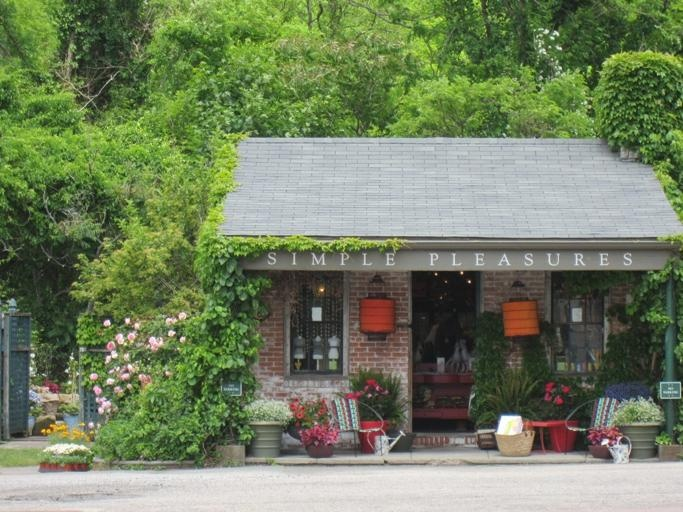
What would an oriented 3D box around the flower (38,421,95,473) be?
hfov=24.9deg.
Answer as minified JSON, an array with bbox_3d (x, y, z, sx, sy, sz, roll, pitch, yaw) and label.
[{"bbox_3d":[-6.848,4.833,39.362,1.135,1.218,1.063,0,-3,44],"label":"flower"}]

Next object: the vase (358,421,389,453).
[{"bbox_3d":[0.865,4.551,39.016,0.720,0.595,0.755,-4,-7,28],"label":"vase"}]

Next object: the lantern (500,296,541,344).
[{"bbox_3d":[4.676,1.631,39.860,0.820,0.950,0.879,-5,-10,11],"label":"lantern"}]

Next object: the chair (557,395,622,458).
[{"bbox_3d":[6.448,4.105,38.914,0.896,1.136,1.022,1,-1,9],"label":"chair"}]

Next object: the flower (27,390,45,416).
[{"bbox_3d":[-8.949,4.229,45.583,0.359,0.806,1.765,-4,9,-9],"label":"flower"}]

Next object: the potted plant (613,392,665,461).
[{"bbox_3d":[7.518,4.287,38.337,1.245,1.377,1.311,0,-11,2],"label":"potted plant"}]

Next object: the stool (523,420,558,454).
[{"bbox_3d":[5.019,4.541,38.886,0.742,0.677,0.836,-4,4,-38],"label":"stool"}]

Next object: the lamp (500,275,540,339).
[{"bbox_3d":[4.662,1.251,39.835,0.815,1.384,0.878,-2,5,12],"label":"lamp"}]

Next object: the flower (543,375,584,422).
[{"bbox_3d":[5.696,3.648,39.506,0.885,1.051,0.799,1,-4,12],"label":"flower"}]

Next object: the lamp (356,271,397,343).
[{"bbox_3d":[0.987,1.314,39.715,0.996,1.552,0.980,6,-10,-37],"label":"lamp"}]

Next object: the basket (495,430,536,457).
[{"bbox_3d":[4.393,4.658,38.460,0.666,0.506,0.707,-1,-12,6],"label":"basket"}]

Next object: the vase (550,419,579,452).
[{"bbox_3d":[5.687,4.555,39.047,0.672,0.749,0.742,0,-6,-1],"label":"vase"}]

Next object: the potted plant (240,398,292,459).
[{"bbox_3d":[-1.808,4.315,38.843,1.198,1.295,1.260,0,-10,2],"label":"potted plant"}]

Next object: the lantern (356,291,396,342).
[{"bbox_3d":[0.964,1.534,39.736,0.929,1.083,0.951,2,-4,-25],"label":"lantern"}]

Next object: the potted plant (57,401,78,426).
[{"bbox_3d":[-7.763,4.490,44.258,0.621,0.703,0.618,0,2,-1],"label":"potted plant"}]

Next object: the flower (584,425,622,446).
[{"bbox_3d":[6.541,4.417,38.296,0.532,0.362,0.562,-2,0,30],"label":"flower"}]

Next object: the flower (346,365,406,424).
[{"bbox_3d":[0.976,3.512,39.164,1.163,1.511,1.091,0,-2,10],"label":"flower"}]

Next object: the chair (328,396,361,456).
[{"bbox_3d":[0.210,4.177,38.784,1.132,2.179,1.069,0,-2,0],"label":"chair"}]
